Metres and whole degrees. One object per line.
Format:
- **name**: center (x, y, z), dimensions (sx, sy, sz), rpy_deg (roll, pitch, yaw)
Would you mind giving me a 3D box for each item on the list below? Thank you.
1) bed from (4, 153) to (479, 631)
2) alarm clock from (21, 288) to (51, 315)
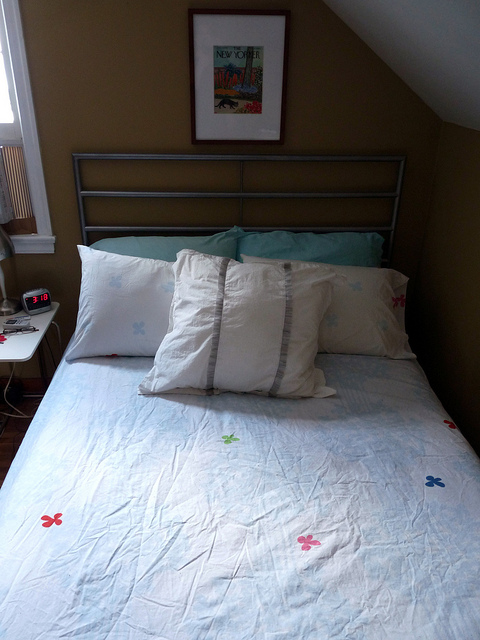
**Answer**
- **bed**: center (0.050, 0.238, 1.803), dimensions (1.236, 0.859, 1.733), rpy_deg (1, 50, 0)
- **alarm clock**: center (-0.910, -0.076, 2.045), dimensions (0.037, 0.104, 0.105), rpy_deg (9, 15, 34)
